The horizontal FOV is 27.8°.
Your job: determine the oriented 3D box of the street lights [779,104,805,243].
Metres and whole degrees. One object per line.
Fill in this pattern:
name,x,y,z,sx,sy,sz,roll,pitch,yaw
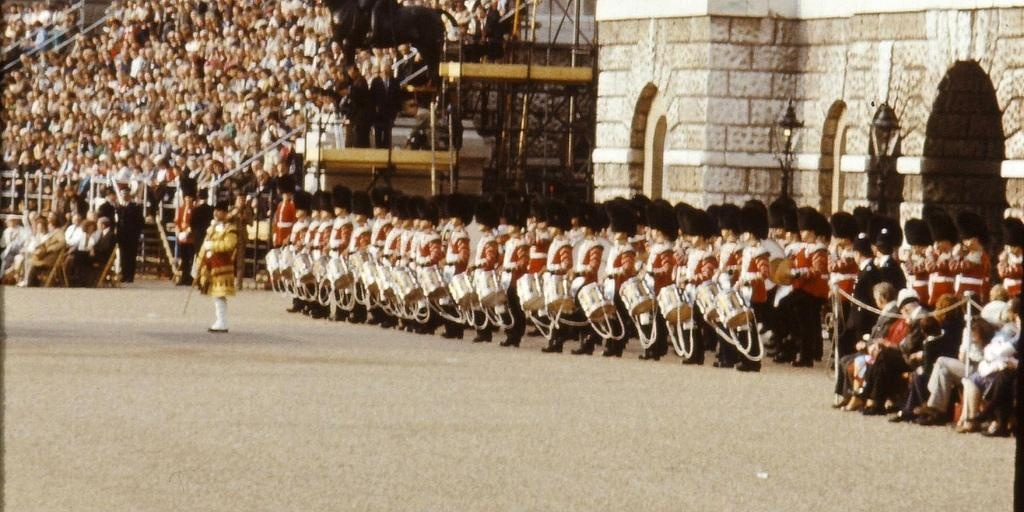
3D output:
street lights,5.192,-1.687,39.197,0.643,2.606,0.697,4,8,19

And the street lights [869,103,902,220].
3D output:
street lights,6.645,-1.761,37.133,0.542,2.032,0.658,-1,3,-41

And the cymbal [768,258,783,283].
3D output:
cymbal,4.418,0.243,34.518,0.179,0.418,0.343,2,1,30
